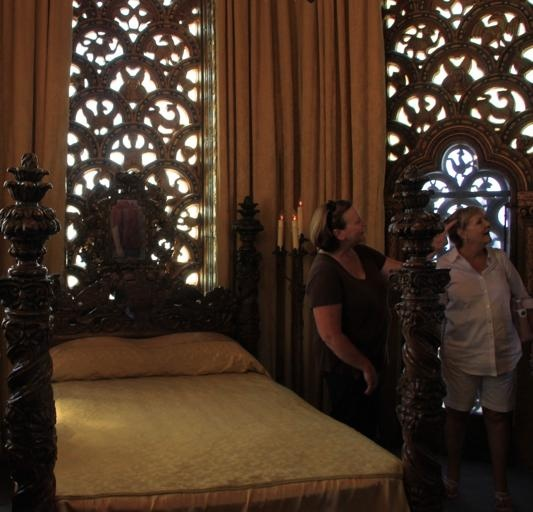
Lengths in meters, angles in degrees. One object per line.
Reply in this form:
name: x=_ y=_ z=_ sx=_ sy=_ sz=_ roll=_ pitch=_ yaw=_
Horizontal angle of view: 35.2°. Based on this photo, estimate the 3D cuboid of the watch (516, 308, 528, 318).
watch: x=1.367 y=0.305 z=4.505 sx=0.042 sy=0.052 sz=0.052 roll=8 pitch=-35 yaw=17
